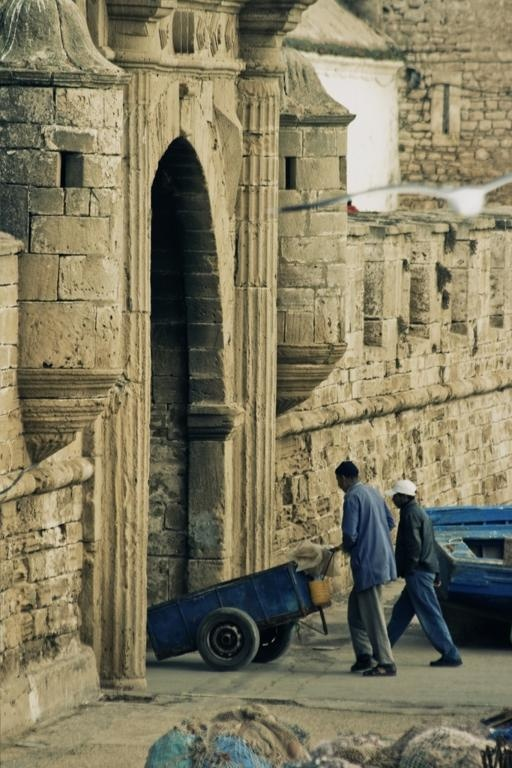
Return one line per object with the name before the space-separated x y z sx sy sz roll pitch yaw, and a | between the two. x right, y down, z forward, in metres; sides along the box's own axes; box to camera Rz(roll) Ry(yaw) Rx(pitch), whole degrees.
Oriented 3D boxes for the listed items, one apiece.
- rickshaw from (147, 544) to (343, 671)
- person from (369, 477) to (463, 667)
rickshaw | -0.099 1.356 10.294 1.099 0.700 0.662 -5 -1 -22
person | 0.950 1.107 10.556 0.497 1.163 0.299 2 8 39
